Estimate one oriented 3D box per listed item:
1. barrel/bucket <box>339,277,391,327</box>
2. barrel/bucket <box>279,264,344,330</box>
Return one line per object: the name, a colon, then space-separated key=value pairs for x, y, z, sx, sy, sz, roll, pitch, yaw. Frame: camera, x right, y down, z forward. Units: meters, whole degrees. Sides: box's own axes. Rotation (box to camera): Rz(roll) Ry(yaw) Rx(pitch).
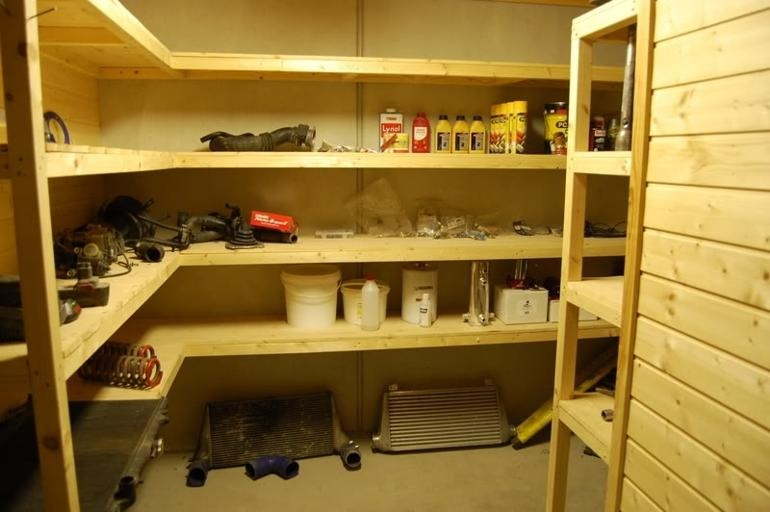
barrel/bucket: x=-0.124 y=0.251 z=3.236 sx=0.253 sy=0.196 sz=0.268 roll=0 pitch=0 yaw=0
barrel/bucket: x=-0.382 y=0.222 z=3.229 sx=0.329 sy=0.251 sz=0.334 roll=1 pitch=11 yaw=0
